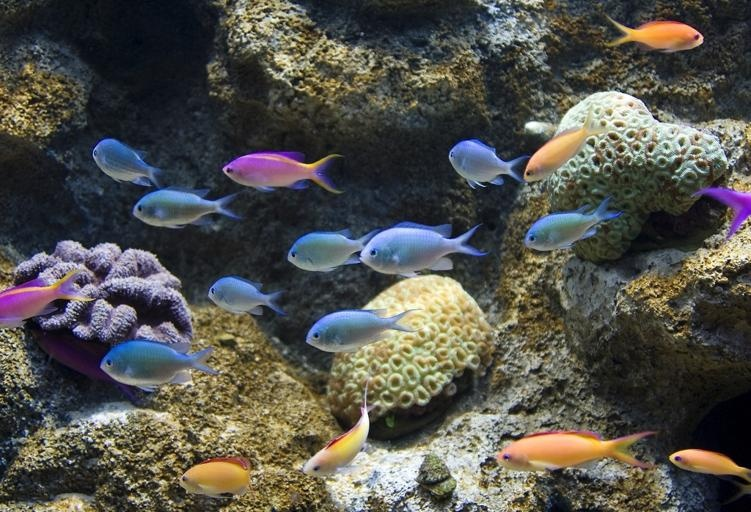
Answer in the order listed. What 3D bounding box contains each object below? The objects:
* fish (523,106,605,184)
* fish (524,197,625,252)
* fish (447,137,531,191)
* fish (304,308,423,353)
[{"bbox_3d":[1.609,-0.916,10.206,0.830,0.345,0.181,-37,23,4],"label":"fish"},{"bbox_3d":[1.587,-0.244,9.771,0.772,0.359,0.182,-17,29,13],"label":"fish"},{"bbox_3d":[0.929,-0.684,10.231,0.601,0.589,0.263,11,57,10],"label":"fish"},{"bbox_3d":[-0.127,0.594,9.833,0.861,0.423,0.206,-8,34,-1],"label":"fish"}]
